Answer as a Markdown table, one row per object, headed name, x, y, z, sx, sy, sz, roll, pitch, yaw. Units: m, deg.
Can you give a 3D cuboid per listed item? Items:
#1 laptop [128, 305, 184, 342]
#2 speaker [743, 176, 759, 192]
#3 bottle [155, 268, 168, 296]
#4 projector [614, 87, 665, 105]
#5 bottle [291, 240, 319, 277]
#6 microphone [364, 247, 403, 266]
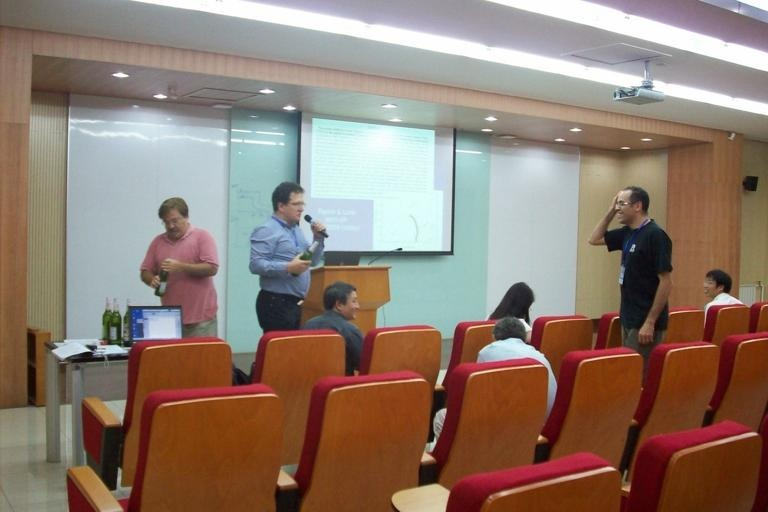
| name | x | y | z | sx | sy | sz | roll | pitch | yaw |
| --- | --- | --- | --- | --- | --- | --- | --- | --- | --- |
| laptop | -2.030 | 0.573 | 5.178 | 0.551 | 0.329 | 0.357 | 0 | 11 | -19 |
| speaker | 7.195 | -1.433 | 11.590 | 0.308 | 0.307 | 0.297 | 1 | 1 | 22 |
| bottle | -2.742 | 0.328 | 7.226 | 0.149 | 0.313 | 0.443 | -2 | 2 | -21 |
| projector | 3.253 | -2.048 | 7.461 | 0.414 | 0.132 | 0.326 | 5 | -5 | -37 |
| bottle | -0.938 | 0.031 | 6.841 | 0.144 | 0.143 | 0.433 | -4 | 20 | 25 |
| microphone | 0.018 | -0.016 | 9.396 | 0.670 | 0.250 | 0.148 | -2 | 2 | -34 |
